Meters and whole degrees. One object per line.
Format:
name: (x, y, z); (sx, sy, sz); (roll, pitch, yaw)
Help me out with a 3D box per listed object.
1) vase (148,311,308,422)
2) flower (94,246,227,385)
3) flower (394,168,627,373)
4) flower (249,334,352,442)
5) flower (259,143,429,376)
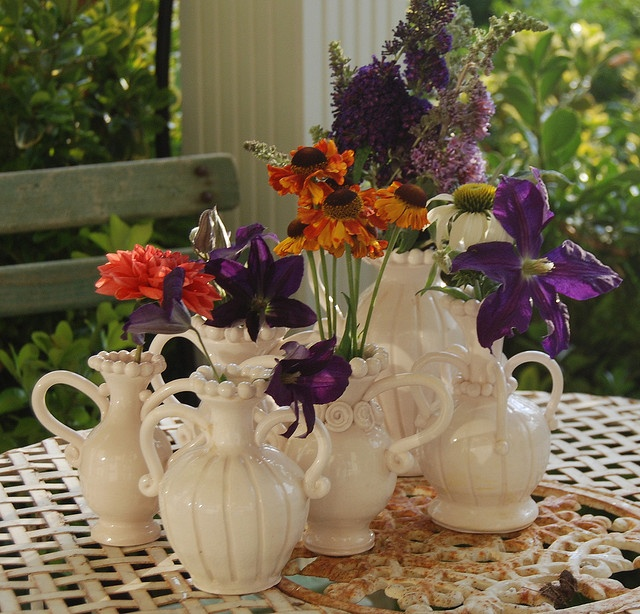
vase: (-0.083, 0.070, 0.773); (0.193, 0.151, 0.082); (1, 5, -3)
flower: (-0.126, 0.003, 0.685); (0.074, 0.103, 0.043); (-14, 34, 29)
flower: (0.200, -0.036, 0.720); (0.146, 0.178, 0.079); (-10, 16, -33)
flower: (-0.013, 0.067, 0.675); (0.072, 0.078, 0.029); (-10, 16, -33)
flower: (0.019, -0.049, 0.773); (0.148, 0.225, 0.228); (-4, 12, -6)
